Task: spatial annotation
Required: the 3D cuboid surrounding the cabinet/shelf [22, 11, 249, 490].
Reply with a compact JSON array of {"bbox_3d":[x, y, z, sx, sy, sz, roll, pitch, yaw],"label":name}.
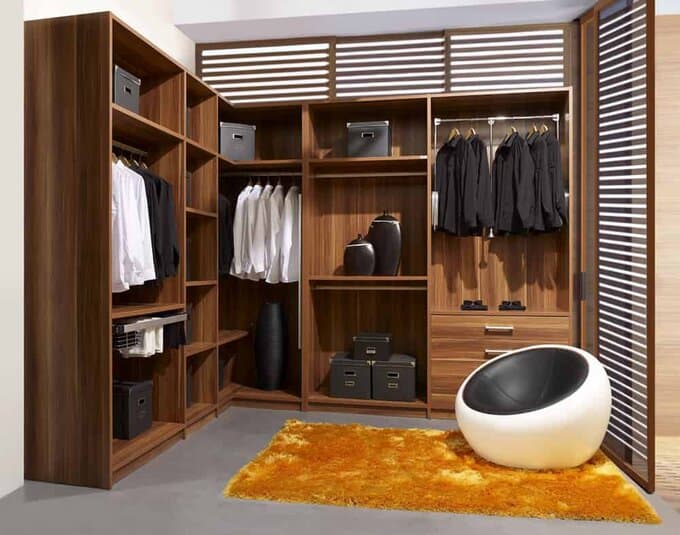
[{"bbox_3d":[-1.510,-0.181,4.094,0.719,2.906,1.408,1,7,18],"label":"cabinet/shelf"}]
